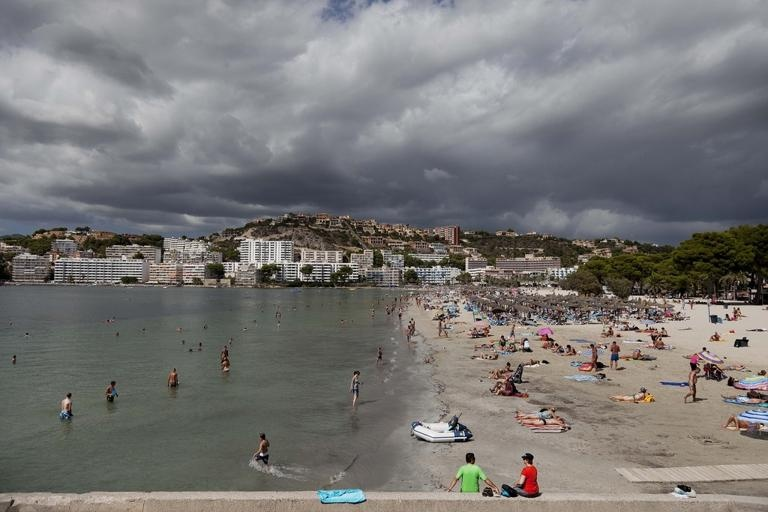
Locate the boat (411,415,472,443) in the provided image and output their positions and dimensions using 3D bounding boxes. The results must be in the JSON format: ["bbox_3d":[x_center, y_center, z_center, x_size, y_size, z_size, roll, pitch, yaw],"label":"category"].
[{"bbox_3d":[3.279,10.203,34.317,2.308,0.839,1.935,2,-5,2],"label":"boat"}]
